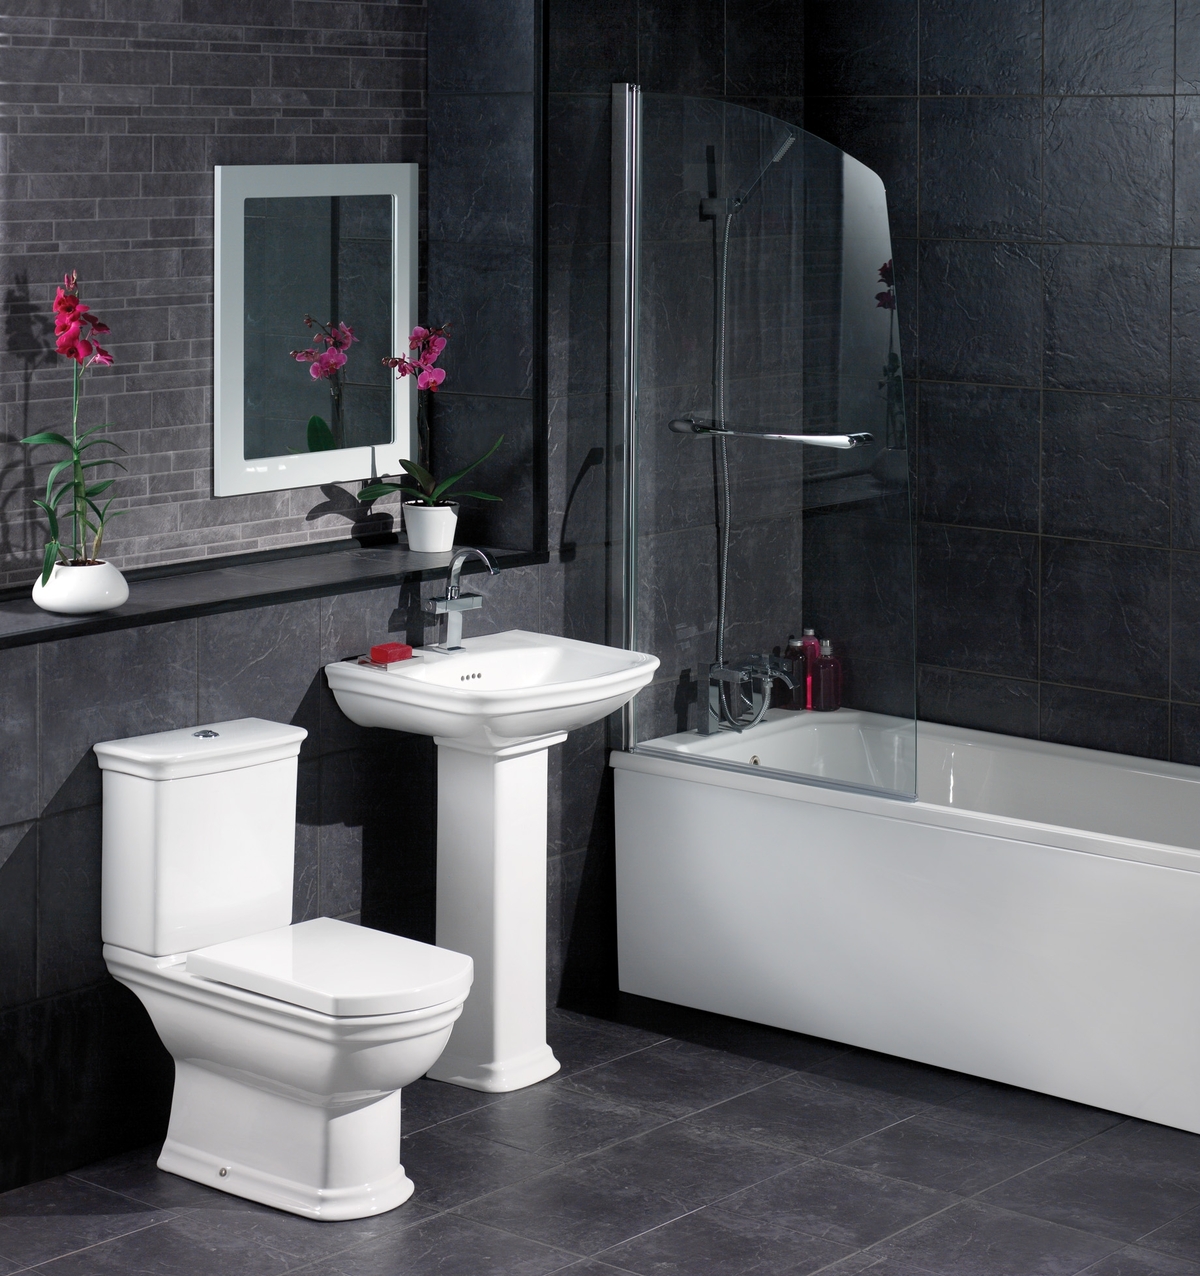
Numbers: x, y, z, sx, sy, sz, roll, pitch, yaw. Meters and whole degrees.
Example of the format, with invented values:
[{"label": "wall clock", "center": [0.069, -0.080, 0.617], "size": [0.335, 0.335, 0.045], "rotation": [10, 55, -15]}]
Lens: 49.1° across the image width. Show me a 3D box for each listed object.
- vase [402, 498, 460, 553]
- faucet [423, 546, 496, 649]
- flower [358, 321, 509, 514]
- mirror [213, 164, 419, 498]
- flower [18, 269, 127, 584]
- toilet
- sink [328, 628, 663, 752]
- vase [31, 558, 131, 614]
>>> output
[{"label": "vase", "center": [-0.375, -0.246, 2.942], "size": [0.112, 0.085, 0.104], "rotation": [1, 8, 5]}, {"label": "faucet", "center": [-0.283, -0.078, 2.773], "size": [0.112, 0.213, 0.127], "rotation": [14, 15, 35]}, {"label": "flower", "center": [-0.354, -0.512, 3.024], "size": [0.319, 0.515, 0.442], "rotation": [6, 13, 25]}, {"label": "mirror", "center": [-0.617, -0.660, 2.787], "size": [0.035, 0.802, 0.683], "rotation": [7, 10, 30]}, {"label": "flower", "center": [-0.927, -0.364, 2.293], "size": [0.163, 0.527, 0.315], "rotation": [-4, 9, -19]}, {"label": "toilet", "center": [-0.520, 0.561, 2.238], "size": [0.659, 0.737, 0.391], "rotation": [3, 2, 36]}, {"label": "sink", "center": [-0.199, 0.123, 2.705], "size": [0.503, 0.192, 0.549], "rotation": [7, 12, 39]}, {"label": "vase", "center": [-0.880, -0.088, 2.216], "size": [0.100, 0.056, 0.100], "rotation": [-4, 7, -32]}]
